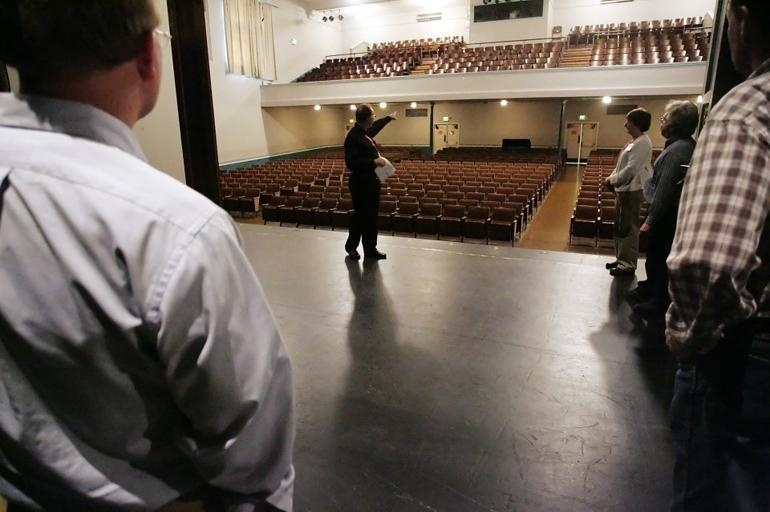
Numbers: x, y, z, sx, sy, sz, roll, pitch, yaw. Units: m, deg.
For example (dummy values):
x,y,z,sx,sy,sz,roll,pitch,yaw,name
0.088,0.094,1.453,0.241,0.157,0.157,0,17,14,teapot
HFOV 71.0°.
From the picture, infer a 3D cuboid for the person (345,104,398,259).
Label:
x,y,z,sx,sy,sz,roll,pitch,yaw,name
-0.171,-0.622,4.663,0.349,1.296,0.324,-1,16,-6,person
